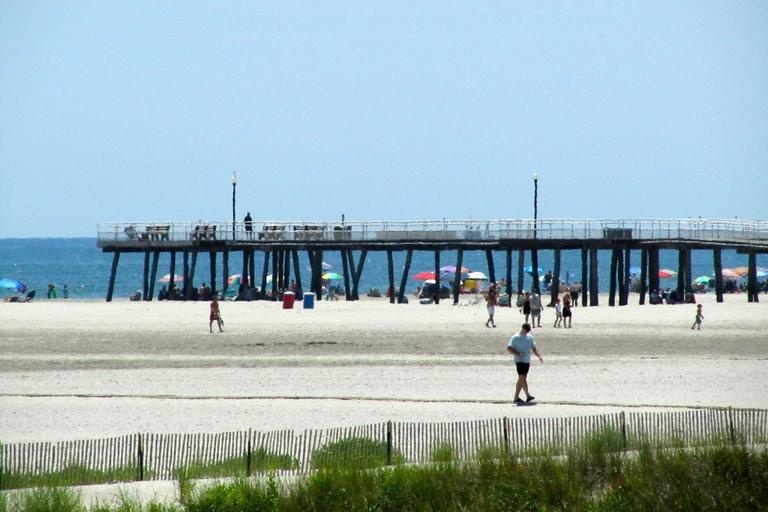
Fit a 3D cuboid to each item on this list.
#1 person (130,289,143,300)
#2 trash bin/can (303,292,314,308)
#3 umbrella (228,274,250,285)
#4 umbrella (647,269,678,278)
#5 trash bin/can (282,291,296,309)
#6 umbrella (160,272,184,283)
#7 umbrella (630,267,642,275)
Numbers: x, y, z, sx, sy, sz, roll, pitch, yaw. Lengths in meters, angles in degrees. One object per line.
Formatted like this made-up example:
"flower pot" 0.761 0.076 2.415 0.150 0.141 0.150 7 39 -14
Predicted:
"person" -13.963 2.063 73.254 0.499 0.648 1.817 -1 -10 -13
"trash bin/can" -3.009 1.709 52.263 0.499 0.892 0.529 0 1 -4
"umbrella" -8.279 1.221 72.649 1.063 0.510 1.136 0 0 6
"umbrella" 16.003 0.876 74.698 1.386 0.565 1.413 5 -2 -33
"trash bin/can" -3.908 1.693 52.303 0.565 0.961 0.590 0 0 -8
"umbrella" -14.007 1.287 86.136 1.316 0.679 1.394 -1 0 -4
"umbrella" 16.106 0.825 83.298 0.704 0.397 1.053 -1 1 1
